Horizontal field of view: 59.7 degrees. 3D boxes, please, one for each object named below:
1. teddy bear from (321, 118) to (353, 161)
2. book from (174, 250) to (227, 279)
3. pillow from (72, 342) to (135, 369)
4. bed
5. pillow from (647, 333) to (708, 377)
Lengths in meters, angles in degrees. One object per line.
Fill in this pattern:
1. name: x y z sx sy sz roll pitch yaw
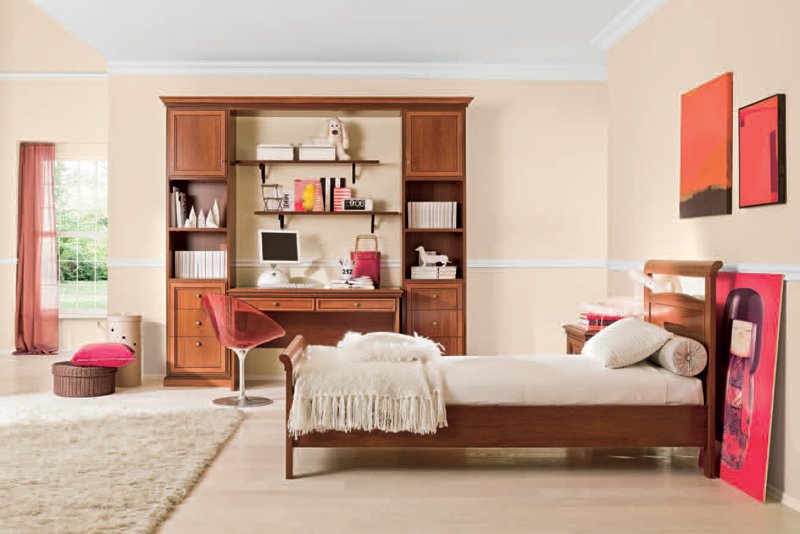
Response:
1. teddy bear: -0.657 -1.335 7.306 0.292 0.421 0.152 -1 14 2
2. book: -2.064 -0.022 7.215 0.634 0.327 0.287 0 2 2
3. pillow: -2.874 0.851 6.755 0.367 0.117 0.353 -1 2 -11
4. bed: 0.832 0.700 5.578 2.833 1.245 1.676 1 -1 2
5. pillow: 2.098 0.642 5.170 0.271 0.218 0.531 -1 -3 3
